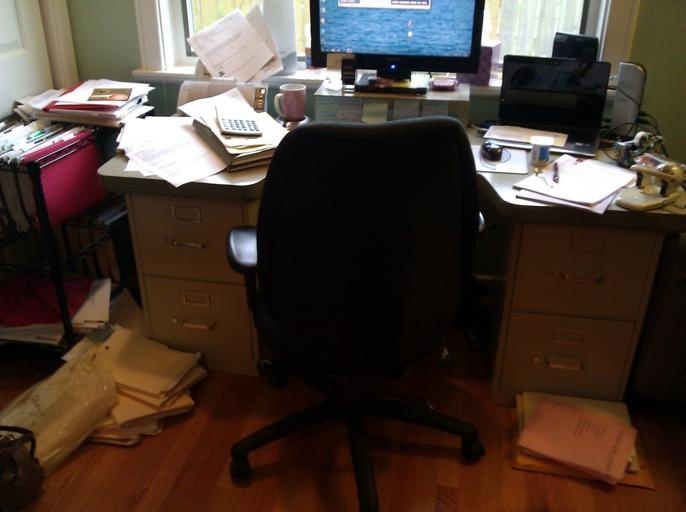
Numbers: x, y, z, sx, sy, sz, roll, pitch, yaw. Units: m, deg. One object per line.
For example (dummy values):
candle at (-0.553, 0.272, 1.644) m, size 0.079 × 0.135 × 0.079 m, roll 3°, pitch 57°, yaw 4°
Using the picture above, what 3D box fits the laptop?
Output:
laptop at (0.750, -0.562, 2.052) m, size 0.402 × 0.286 × 0.255 m, roll 8°, pitch 28°, yaw 17°

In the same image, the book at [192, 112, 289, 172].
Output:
book at (-0.365, -0.396, 1.922) m, size 0.259 × 0.066 × 0.268 m, roll -15°, pitch 50°, yaw -27°

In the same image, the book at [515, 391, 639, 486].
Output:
book at (0.799, 0.619, 1.916) m, size 0.267 × 0.067 × 0.267 m, roll 18°, pitch 47°, yaw 22°

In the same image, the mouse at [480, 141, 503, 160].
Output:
mouse at (0.524, -0.371, 1.975) m, size 0.054 × 0.047 × 0.077 m, roll 3°, pitch 17°, yaw 7°

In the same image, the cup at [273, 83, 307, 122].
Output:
cup at (-0.220, -0.582, 2.171) m, size 0.102 × 0.131 × 0.161 m, roll 23°, pitch 39°, yaw 26°

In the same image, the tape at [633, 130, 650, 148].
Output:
tape at (1.040, -0.404, 1.952) m, size 0.042 × 0.056 × 0.055 m, roll -36°, pitch 50°, yaw 4°
